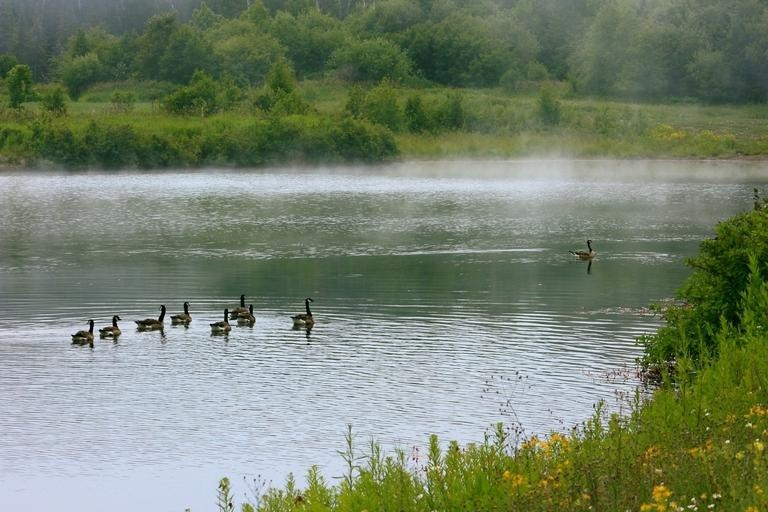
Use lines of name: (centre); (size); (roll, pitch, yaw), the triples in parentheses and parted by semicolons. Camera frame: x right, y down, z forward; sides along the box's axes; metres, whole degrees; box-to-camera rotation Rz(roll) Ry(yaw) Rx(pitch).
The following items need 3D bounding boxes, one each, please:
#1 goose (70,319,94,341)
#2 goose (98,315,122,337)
goose: (-14.047, 3.495, 61.035); (0.984, 0.932, 1.152); (-2, 4, -9)
goose: (-12.789, 3.293, 61.558); (0.937, 0.976, 1.200); (-1, 4, 8)
